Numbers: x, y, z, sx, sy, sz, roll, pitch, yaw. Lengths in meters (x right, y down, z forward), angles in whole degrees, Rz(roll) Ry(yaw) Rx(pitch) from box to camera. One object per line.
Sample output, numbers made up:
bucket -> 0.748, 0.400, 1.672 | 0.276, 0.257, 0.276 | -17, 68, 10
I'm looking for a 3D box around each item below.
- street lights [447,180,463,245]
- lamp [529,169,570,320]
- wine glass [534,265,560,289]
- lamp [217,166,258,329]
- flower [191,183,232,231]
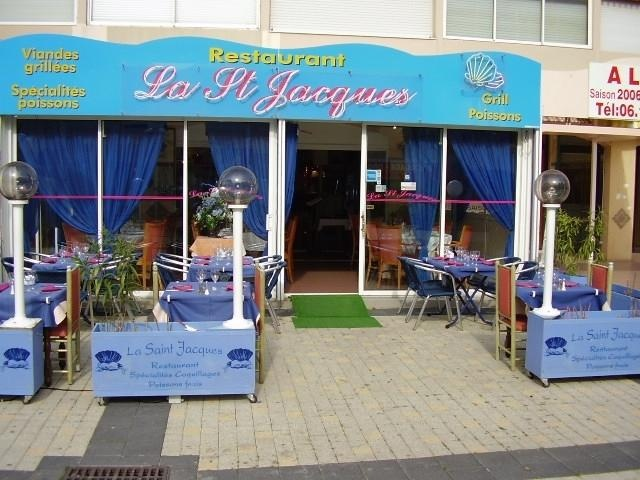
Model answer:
street lights -> 2.208, -0.530, 9.766 | 0.323, 1.044, 0.109 | -4, 22, -19
lamp -> 2.479, 0.027, 6.276 | 0.347, 1.545, 0.685 | 5, 11, 18
wine glass -> 2.882, 0.475, 7.297 | 0.315, 0.227, 0.349 | 1, 3, 15
lamp -> -0.809, 0.065, 5.682 | 0.355, 1.560, 0.632 | 0, 11, -8
flower -> -1.806, -0.504, 9.432 | 0.761, 0.800, 0.715 | -1, 5, -4
